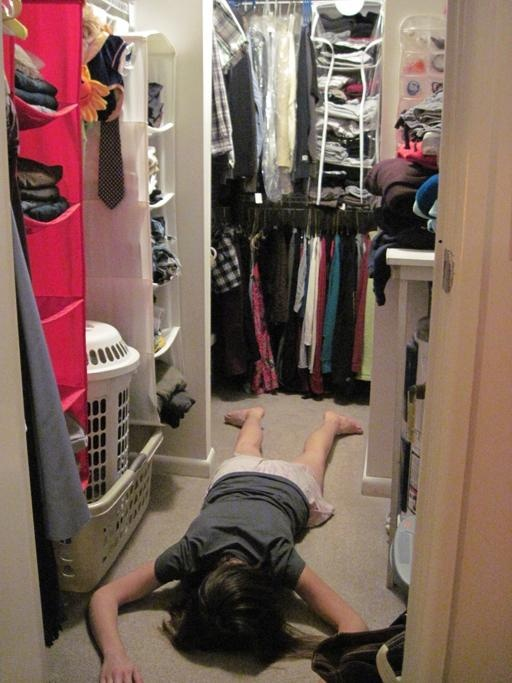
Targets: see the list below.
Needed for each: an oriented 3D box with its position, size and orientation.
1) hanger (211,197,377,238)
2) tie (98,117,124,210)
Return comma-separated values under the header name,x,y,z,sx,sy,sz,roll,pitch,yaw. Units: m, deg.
name,x,y,z,sx,sy,sz,roll,pitch,yaw
hanger,0.229,-0.725,3.274,0.939,0.238,0.374,2,11,2
tie,-0.440,-0.558,1.689,0.073,0.379,0.016,-2,-25,-15
